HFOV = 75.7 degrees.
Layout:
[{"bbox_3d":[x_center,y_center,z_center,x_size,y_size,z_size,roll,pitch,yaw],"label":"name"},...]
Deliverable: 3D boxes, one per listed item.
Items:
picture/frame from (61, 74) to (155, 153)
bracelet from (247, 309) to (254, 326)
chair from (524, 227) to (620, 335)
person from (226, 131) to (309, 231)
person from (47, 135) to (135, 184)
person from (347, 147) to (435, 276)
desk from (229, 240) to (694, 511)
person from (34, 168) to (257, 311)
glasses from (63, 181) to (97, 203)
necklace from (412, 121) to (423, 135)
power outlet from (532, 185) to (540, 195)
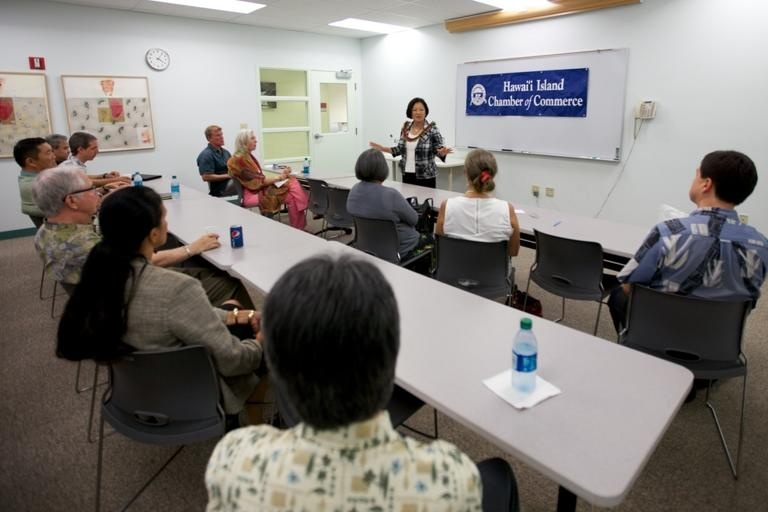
[{"bbox_3d":[-3.838,-2.002,6.812,1.347,1.361,0.047,-6,12,-36],"label":"picture/frame"},{"bbox_3d":[-0.833,0.367,3.101,0.046,0.066,0.027,4,-1,-31],"label":"bracelet"},{"bbox_3d":[1.491,0.176,3.882,0.519,0.865,0.488,18,36,37],"label":"chair"},{"bbox_3d":[-1.471,-0.912,6.460,0.943,1.422,0.565,-5,22,-9],"label":"person"},{"bbox_3d":[-3.273,-1.033,5.624,0.548,0.710,0.777,22,25,34],"label":"person"},{"bbox_3d":[0.053,-0.282,4.663,0.783,1.394,0.809,8,17,24],"label":"person"},{"bbox_3d":[0.423,0.577,2.364,0.498,0.342,1.415,-23,35,-39],"label":"desk"},{"bbox_3d":[-1.662,-0.101,3.431,1.372,0.344,0.586,28,39,26],"label":"person"},{"bbox_3d":[-1.943,-0.398,3.168,0.119,0.034,0.120,-31,18,-10],"label":"glasses"},{"bbox_3d":[0.424,-1.644,6.302,0.115,0.171,0.060,4,1,21],"label":"necklace"},{"bbox_3d":[2.228,-0.979,7.286,0.108,0.153,0.155,-6,8,-30],"label":"power outlet"}]
